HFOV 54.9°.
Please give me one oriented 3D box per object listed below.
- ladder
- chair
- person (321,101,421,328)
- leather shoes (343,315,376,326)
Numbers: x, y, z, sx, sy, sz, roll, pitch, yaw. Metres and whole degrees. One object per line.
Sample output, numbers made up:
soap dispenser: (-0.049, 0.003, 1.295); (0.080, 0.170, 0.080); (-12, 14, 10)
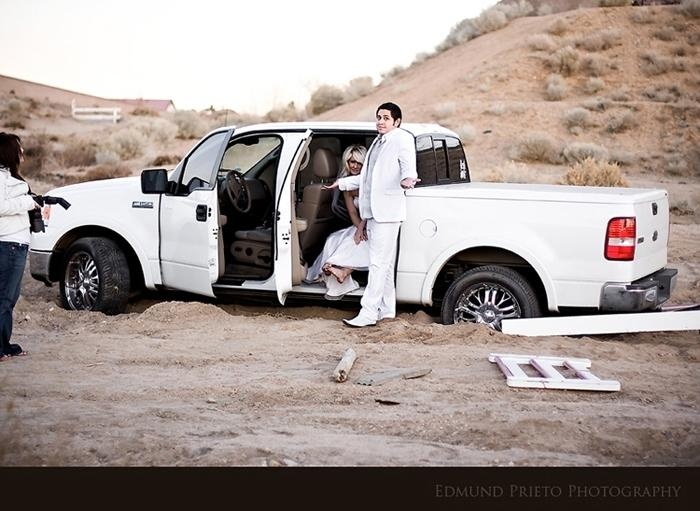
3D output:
ladder: (2.142, 1.229, 7.082); (1.225, 0.262, 0.637); (1, 3, 1)
chair: (-0.821, -0.714, 9.293); (1.604, 1.681, 0.976); (4, 31, 20)
person: (0.451, -0.458, 8.213); (1.052, 2.743, 0.428); (4, 4, 43)
leather shoes: (0.137, 0.836, 8.387); (0.297, 0.115, 0.173); (3, -1, 6)
